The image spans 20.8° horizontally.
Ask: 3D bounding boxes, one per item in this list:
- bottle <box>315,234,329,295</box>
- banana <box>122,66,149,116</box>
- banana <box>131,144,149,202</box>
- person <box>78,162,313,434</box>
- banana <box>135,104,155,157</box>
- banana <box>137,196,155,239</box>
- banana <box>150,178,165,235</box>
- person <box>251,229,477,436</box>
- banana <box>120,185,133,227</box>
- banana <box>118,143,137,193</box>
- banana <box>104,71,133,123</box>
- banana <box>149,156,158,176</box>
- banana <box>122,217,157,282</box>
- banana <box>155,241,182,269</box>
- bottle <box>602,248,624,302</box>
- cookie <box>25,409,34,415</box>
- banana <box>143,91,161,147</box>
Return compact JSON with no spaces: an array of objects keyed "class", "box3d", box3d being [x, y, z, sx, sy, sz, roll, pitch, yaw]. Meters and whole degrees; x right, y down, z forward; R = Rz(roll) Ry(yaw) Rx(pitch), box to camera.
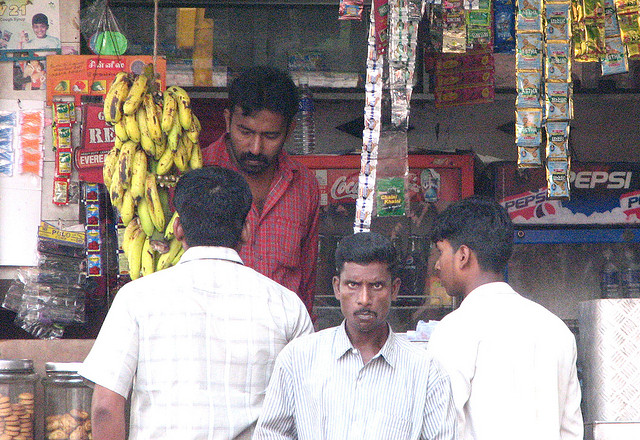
[{"class":"bottle","box3d":[0.045,0.292,11.654,0.089,0.396,0.075,0,4,0]},{"class":"banana","box3d":[-1.032,-0.731,9.970,0.087,0.288,0.079,25,-28,-13]},{"class":"banana","box3d":[-1.011,-0.269,9.946,0.091,0.302,0.099,6,-15,-12]},{"class":"person","box3d":[-0.668,0.429,9.444,1.193,1.434,0.323,0,4,2]},{"class":"banana","box3d":[-0.982,-0.508,9.949,0.114,0.303,0.073,-8,2,18]},{"class":"banana","box3d":[-0.957,-0.017,9.952,0.075,0.231,0.082,-4,14,10]},{"class":"banana","box3d":[-0.909,-0.080,9.940,0.061,0.313,0.086,-9,9,-37]},{"class":"person","box3d":[0.256,0.651,9.711,1.292,1.072,0.384,1,-5,-2]},{"class":"banana","box3d":[-1.082,-0.082,9.966,0.060,0.191,0.068,7,1,21]},{"class":"banana","box3d":[-1.091,-0.304,9.986,0.074,0.263,0.096,-2,-15,38]},{"class":"banana","box3d":[-1.145,-0.695,10.008,0.108,0.327,0.117,1,-29,29]},{"class":"banana","box3d":[-0.937,-0.310,10.010,0.041,0.113,0.036,3,2,5]},{"class":"banana","box3d":[-1.015,0.165,10.035,0.192,0.341,0.132,-11,-7,14]},{"class":"banana","box3d":[-0.843,0.193,9.904,0.043,0.160,0.058,38,-6,8]},{"class":"bottle","box3d":[2.081,0.366,12.097,0.144,0.326,0.107,1,4,16]},{"class":"cookie","box3d":[-1.719,1.129,10.375,0.044,0.021,0.040,1,-2,-9]},{"class":"banana","box3d":[-0.951,-0.549,10.061,0.133,0.092,0.473,-11,-28,-9]}]
